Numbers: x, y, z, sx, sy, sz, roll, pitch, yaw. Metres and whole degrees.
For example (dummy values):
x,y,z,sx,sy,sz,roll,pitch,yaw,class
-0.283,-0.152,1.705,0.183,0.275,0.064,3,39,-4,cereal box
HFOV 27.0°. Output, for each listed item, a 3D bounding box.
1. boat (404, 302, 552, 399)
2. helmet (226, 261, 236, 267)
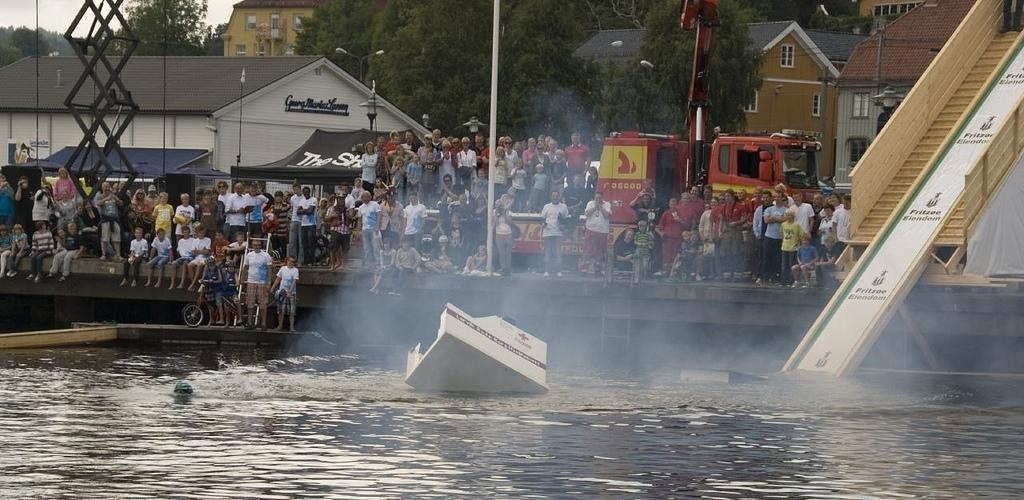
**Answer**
x,y,z,sx,sy,sz,roll,pitch,yaw,class
-1.007,5.243,99.340,5.317,5.026,2.014,27,39,-17,boat
-13.684,0.657,105.300,0.279,0.293,0.346,5,-20,-44,helmet
